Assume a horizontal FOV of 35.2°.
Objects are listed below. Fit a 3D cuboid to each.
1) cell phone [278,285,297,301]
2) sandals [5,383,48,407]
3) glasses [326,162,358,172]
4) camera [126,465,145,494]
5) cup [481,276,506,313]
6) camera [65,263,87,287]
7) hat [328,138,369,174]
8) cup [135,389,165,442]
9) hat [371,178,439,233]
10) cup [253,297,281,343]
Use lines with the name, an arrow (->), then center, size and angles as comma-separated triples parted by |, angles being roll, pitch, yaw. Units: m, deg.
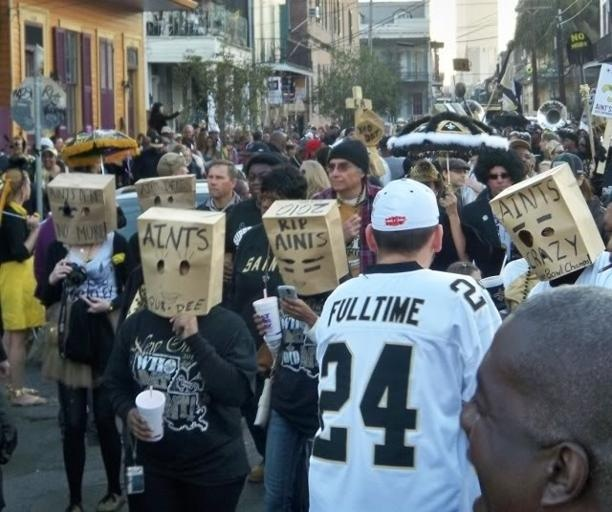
cell phone -> -0.100, 0.199, 5.296 | 0.096, 0.090, 0.132 | -2, 10, 0
sandals -> -2.483, 1.251, 8.575 | 0.401, 0.223, 0.151 | 0, 0, -1
glasses -> 0.236, -0.604, 6.472 | 0.240, 0.083, 0.102 | 4, 12, 30
camera -> -0.863, 1.135, 4.874 | 0.094, 0.141, 0.087 | -4, 10, -13
cup -> 0.975, 0.206, 4.988 | 0.110, 0.175, 0.114 | -27, 1, 0
camera -> -1.522, 0.130, 6.377 | 0.109, 0.130, 0.122 | 7, 29, 0
hat -> 0.292, -0.638, 6.496 | 0.220, 0.200, 0.225 | -7, 24, -34
cup -> -0.758, 0.782, 4.757 | 0.131, 0.260, 0.136 | -3, 8, 0
hat -> 0.425, -0.206, 4.292 | 0.326, 0.248, 0.539 | 3, 9, 17
cup -> -0.214, 0.367, 5.537 | 0.173, 0.280, 0.151 | -5, 10, -18
